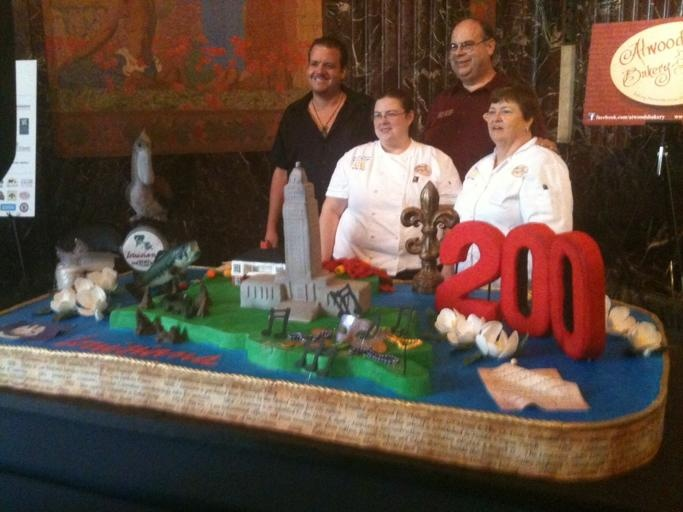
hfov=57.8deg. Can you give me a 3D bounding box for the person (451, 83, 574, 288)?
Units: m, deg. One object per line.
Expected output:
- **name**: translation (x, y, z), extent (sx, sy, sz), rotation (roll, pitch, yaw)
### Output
- **person**: translation (1.064, -0.577, 3.766), extent (0.369, 0.895, 0.694), rotation (-4, 9, -26)

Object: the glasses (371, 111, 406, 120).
- **glasses**: translation (0.329, -0.939, 4.125), extent (0.181, 0.058, 0.062), rotation (2, 9, 10)

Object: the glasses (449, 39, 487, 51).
- **glasses**: translation (0.908, -1.534, 4.518), extent (0.263, 0.070, 0.081), rotation (4, 9, 24)

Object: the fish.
- **fish**: translation (-1.009, 0.099, 3.468), extent (0.434, 0.189, 0.117), rotation (-27, 15, 23)
